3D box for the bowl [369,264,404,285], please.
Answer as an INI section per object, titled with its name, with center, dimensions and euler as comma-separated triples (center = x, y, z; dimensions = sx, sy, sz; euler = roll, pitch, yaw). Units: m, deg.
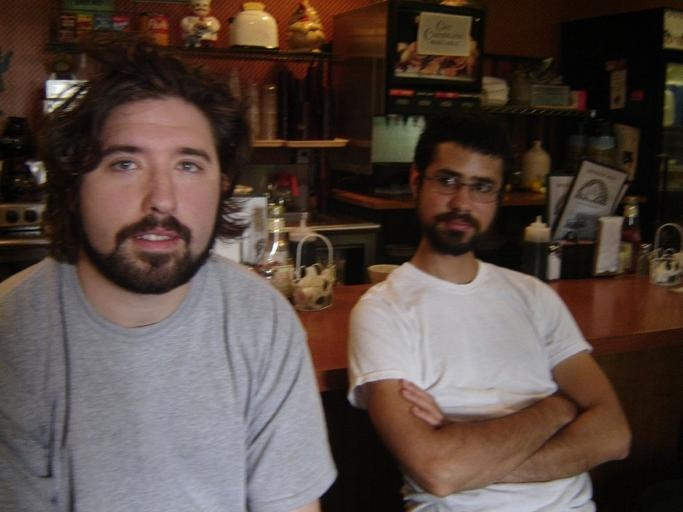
[bowl]
center = 0.188, 0.082, 2.628
dimensions = 0.125, 0.055, 0.118
euler = 0, 3, 0
